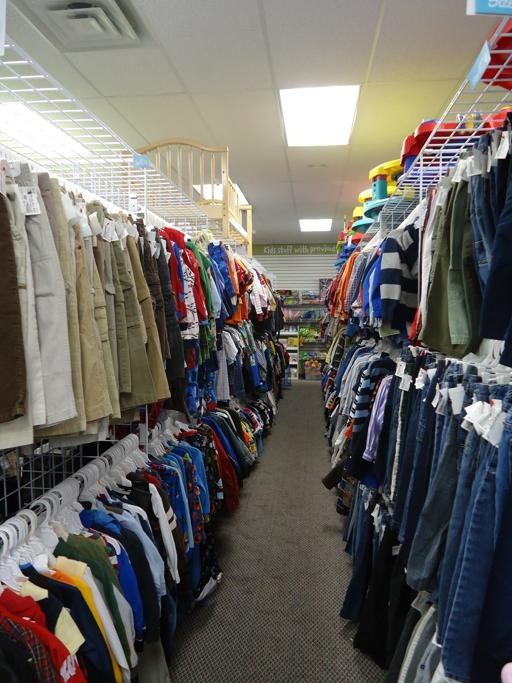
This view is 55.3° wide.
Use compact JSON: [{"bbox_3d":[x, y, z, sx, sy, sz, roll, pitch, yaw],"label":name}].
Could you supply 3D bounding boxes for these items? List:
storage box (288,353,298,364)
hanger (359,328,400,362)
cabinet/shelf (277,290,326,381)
[{"bbox_3d":[0.854,0.384,11.170,0.241,0.261,0.134,0,-2,1],"label":"storage box"},{"bbox_3d":[0.789,0.010,3.007,0.178,0.247,0.085,-1,10,7],"label":"hanger"},{"bbox_3d":[1.025,-0.112,10.835,1.861,1.978,0.642,-1,-3,-2],"label":"cabinet/shelf"}]
